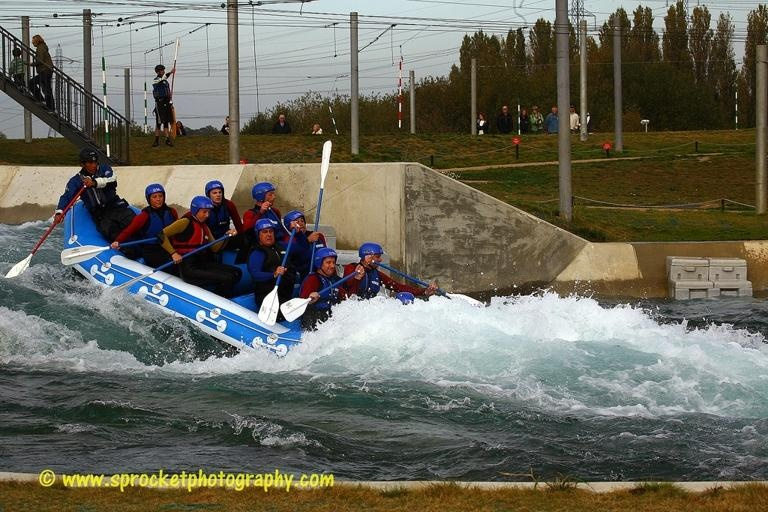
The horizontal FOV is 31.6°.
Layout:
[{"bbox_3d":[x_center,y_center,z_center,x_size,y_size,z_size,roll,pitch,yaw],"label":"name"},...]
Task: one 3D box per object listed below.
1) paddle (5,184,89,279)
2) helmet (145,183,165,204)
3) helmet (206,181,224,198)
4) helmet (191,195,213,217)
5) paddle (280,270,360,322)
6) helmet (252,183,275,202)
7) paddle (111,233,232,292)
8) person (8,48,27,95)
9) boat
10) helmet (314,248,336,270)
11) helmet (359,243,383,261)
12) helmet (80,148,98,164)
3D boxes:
[{"bbox_3d":[-7.703,-0.490,31.030,3.137,0.357,0.178,-46,8,-20],"label":"paddle"},{"bbox_3d":[-4.810,-1.336,28.511,0.431,0.478,0.543,-2,-7,-20],"label":"helmet"},{"bbox_3d":[-3.623,-1.425,28.796,0.339,0.367,0.434,-4,-8,-26],"label":"helmet"},{"bbox_3d":[-3.838,-1.064,28.271,0.448,0.370,0.363,-11,-3,28],"label":"helmet"},{"bbox_3d":[-1.436,0.875,27.393,1.432,0.778,0.437,-3,1,-32],"label":"paddle"},{"bbox_3d":[-2.623,-1.372,29.295,0.453,0.310,0.401,-1,8,1],"label":"helmet"},{"bbox_3d":[-4.461,0.160,28.157,3.024,0.242,0.230,-21,-6,16],"label":"paddle"},{"bbox_3d":[-9.962,-5.084,36.660,0.433,1.054,0.259,-3,1,-14],"label":"person"},{"bbox_3d":[-4.301,0.730,28.161,5.107,1.393,2.346,26,16,8],"label":"boat"},{"bbox_3d":[-1.234,0.045,27.778,0.473,0.398,0.400,1,-1,19],"label":"helmet"},{"bbox_3d":[-0.272,-0.091,28.042,0.427,0.307,0.317,-5,3,10],"label":"helmet"},{"bbox_3d":[-6.441,-2.166,29.393,0.343,0.284,0.431,-3,1,-13],"label":"helmet"}]
